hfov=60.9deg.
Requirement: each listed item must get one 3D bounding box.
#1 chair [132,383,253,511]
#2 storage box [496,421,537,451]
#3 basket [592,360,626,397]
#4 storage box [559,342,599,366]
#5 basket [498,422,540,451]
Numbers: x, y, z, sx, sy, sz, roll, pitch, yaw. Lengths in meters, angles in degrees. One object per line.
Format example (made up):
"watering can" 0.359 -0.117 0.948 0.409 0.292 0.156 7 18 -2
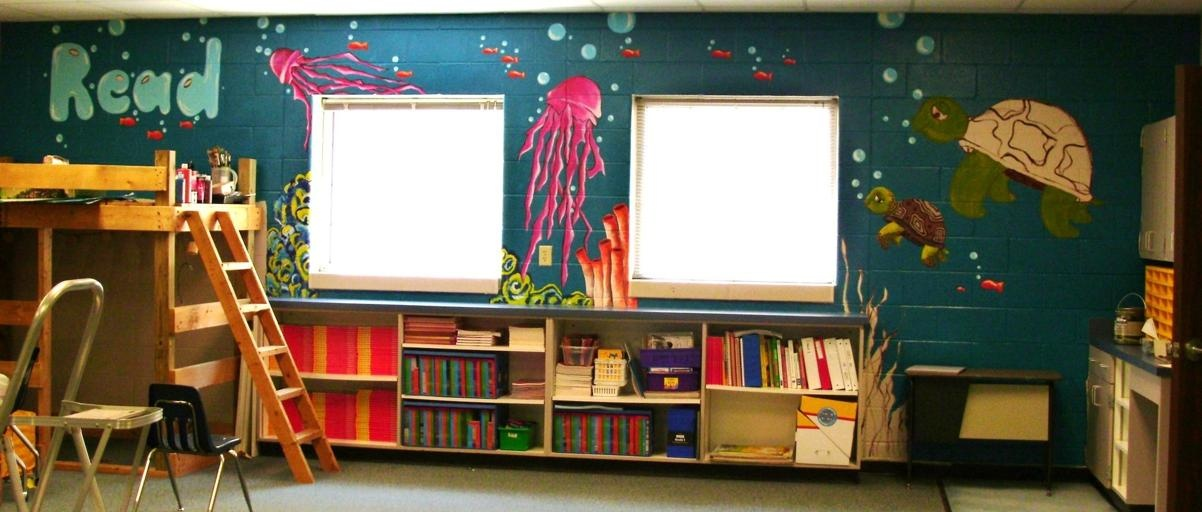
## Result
"chair" -4.547 2.128 11.391 1.198 1.494 0.918 0 4 -18
"storage box" -1.033 2.138 12.215 0.394 0.196 0.351 0 0 8
"basket" 0.084 1.438 12.092 0.373 0.435 0.151 1 4 -7
"storage box" -0.272 1.178 12.102 0.391 0.149 0.258 1 -1 -20
"basket" -1.010 2.147 12.260 0.394 0.198 0.352 -1 0 9
